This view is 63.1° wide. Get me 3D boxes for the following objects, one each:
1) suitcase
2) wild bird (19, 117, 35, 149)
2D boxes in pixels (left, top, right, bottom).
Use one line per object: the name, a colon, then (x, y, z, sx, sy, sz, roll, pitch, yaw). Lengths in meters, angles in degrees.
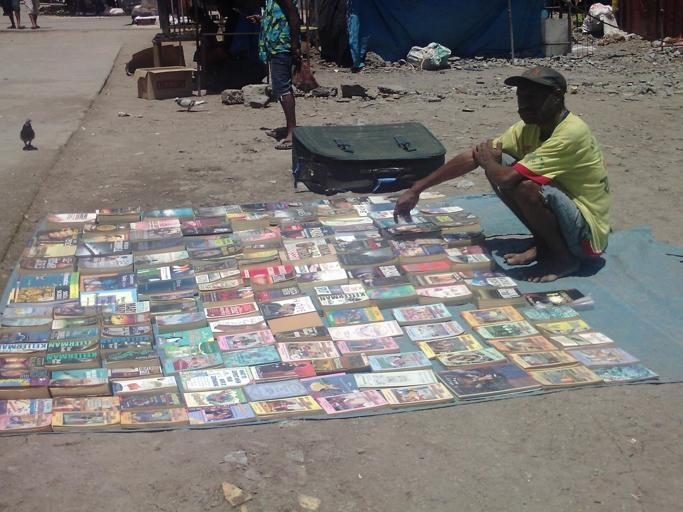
suitcase: (0.190, -0.823, 4.632, 1.233, 0.228, 0.815, -3, 19, -7)
wild bird: (-3.377, -1.308, 5.946, 0.139, 0.307, 0.377, -15, 28, -22)
